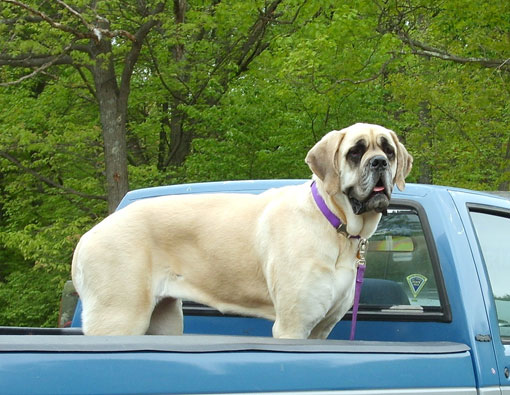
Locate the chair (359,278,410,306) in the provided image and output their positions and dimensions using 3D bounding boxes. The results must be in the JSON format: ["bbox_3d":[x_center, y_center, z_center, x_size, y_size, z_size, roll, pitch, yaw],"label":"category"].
[{"bbox_3d":[1.392,1.035,8.737,0.426,0.221,0.267,6,-14,3],"label":"chair"}]
